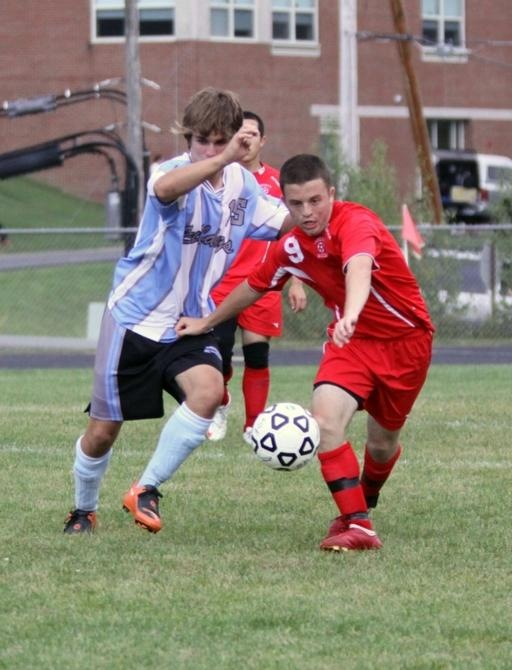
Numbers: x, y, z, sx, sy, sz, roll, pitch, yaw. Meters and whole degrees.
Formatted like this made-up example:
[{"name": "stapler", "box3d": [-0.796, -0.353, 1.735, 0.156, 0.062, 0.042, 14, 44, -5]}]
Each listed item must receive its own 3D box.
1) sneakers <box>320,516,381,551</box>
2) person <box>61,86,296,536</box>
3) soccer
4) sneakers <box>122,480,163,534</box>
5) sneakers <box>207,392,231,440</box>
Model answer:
[{"name": "sneakers", "box3d": [0.428, 0.873, 6.498, 0.312, 0.154, 0.113, 7, -18, -32]}, {"name": "person", "box3d": [-0.367, -0.063, 6.467, 0.938, 1.953, 0.647, 0, 8, -6]}, {"name": "soccer", "box3d": [0.139, 0.443, 6.559, 0.266, 0.300, 0.270, -1, -2, 0]}, {"name": "sneakers", "box3d": [-0.480, 0.752, 6.346, 0.160, 0.201, 0.215, 0, 8, -6]}, {"name": "sneakers", "box3d": [-0.201, 0.513, 8.968, 0.091, 0.325, 0.132, 14, -14, -8]}]
